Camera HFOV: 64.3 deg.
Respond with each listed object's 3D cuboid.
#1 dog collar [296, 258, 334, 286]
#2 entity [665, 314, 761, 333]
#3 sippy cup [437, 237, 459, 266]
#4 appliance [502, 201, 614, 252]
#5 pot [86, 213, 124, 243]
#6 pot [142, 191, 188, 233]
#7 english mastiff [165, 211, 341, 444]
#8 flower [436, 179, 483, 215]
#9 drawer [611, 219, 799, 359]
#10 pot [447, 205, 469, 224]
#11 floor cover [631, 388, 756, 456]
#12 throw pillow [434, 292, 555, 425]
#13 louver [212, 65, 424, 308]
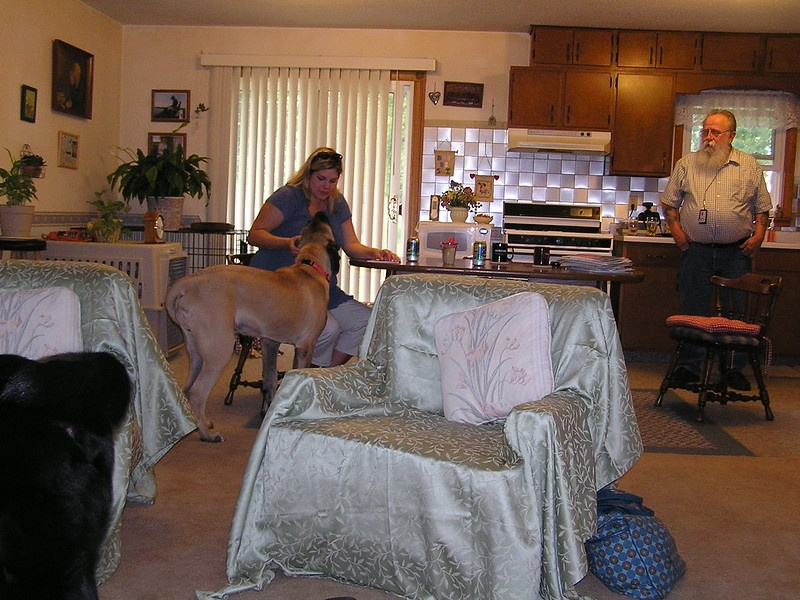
[{"bbox_3d":[-0.448,-0.154,3.356,0.132,0.041,0.102,36,2,3],"label":"dog collar"},{"bbox_3d":[1.999,0.174,4.073,0.545,0.104,0.253,8,11,28],"label":"entity"},{"bbox_3d":[0.307,-0.290,3.938,0.166,0.245,0.157,3,-1,0],"label":"sippy cup"},{"bbox_3d":[1.487,-0.712,6.176,0.897,0.588,0.642,0,0,1],"label":"appliance"},{"bbox_3d":[-2.188,-0.521,4.723,0.241,0.184,0.313,-2,10,-27],"label":"pot"},{"bbox_3d":[-2.094,-0.771,5.587,0.334,0.292,0.373,7,10,39],"label":"pot"},{"bbox_3d":[-0.695,0.130,3.303,0.308,1.102,0.976,12,10,40],"label":"english mastiff"},{"bbox_3d":[0.561,-0.966,6.164,0.343,0.262,0.335,11,16,26],"label":"flower"},{"bbox_3d":[2.673,-0.160,6.071,1.770,1.152,0.907,2,6,6],"label":"drawer"},{"bbox_3d":[0.558,-0.814,6.056,0.154,0.122,0.160,1,13,0],"label":"pot"},{"bbox_3d":[1.678,0.772,3.833,0.591,0.031,0.937,4,10,8],"label":"floor cover"},{"bbox_3d":[0.344,0.213,2.280,0.430,0.462,0.187,-10,-10,34],"label":"throw pillow"},{"bbox_3d":[-0.836,-1.254,6.559,2.177,2.785,0.153,4,-11,6],"label":"louver"}]
